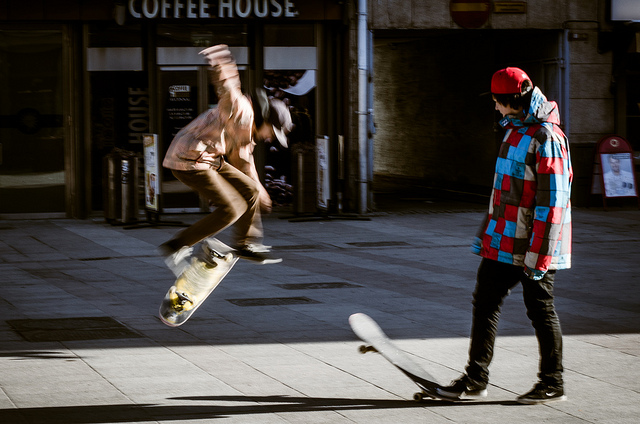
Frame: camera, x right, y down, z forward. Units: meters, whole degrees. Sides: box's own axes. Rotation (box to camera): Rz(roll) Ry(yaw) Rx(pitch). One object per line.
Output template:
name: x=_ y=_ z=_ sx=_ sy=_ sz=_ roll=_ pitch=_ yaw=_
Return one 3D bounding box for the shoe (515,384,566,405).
shoe: x=1.800 y=1.490 z=6.542 sx=0.449 sy=0.131 sz=0.143 roll=1 pitch=-1 yaw=-6

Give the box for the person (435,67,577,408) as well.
person: x=1.580 y=0.210 z=6.422 sx=0.907 sy=2.717 sz=0.622 roll=2 pitch=11 yaw=11

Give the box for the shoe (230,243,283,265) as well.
shoe: x=-0.706 y=0.438 z=8.660 sx=0.492 sy=0.238 sz=0.636 roll=-1 pitch=8 yaw=-7

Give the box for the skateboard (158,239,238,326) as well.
skateboard: x=-1.226 y=0.712 z=8.160 sx=0.478 sy=1.198 sz=0.202 roll=46 pitch=-14 yaw=5

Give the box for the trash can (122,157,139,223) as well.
trash can: x=-3.648 y=-0.428 z=15.273 sx=0.296 sy=1.264 sz=0.236 roll=-2 pitch=11 yaw=-14

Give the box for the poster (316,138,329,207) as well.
poster: x=0.048 y=-0.872 z=16.057 sx=0.116 sy=1.213 sz=0.318 roll=-9 pitch=14 yaw=-41
